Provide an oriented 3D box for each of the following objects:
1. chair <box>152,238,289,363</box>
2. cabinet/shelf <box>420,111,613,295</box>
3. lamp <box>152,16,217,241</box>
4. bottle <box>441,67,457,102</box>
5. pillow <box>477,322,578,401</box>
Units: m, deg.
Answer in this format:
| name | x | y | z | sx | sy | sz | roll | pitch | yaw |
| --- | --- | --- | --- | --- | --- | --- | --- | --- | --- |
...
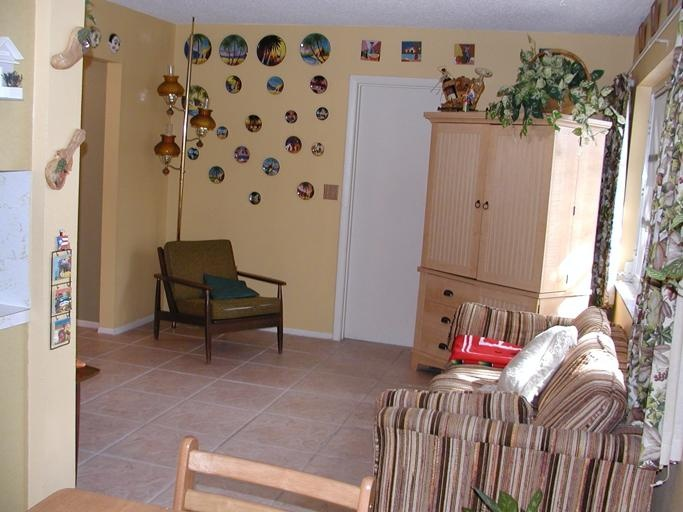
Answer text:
| name | x | y | z | sx | sy | sz | roll | pitch | yaw |
| --- | --- | --- | --- | --- | --- | --- | --- | --- | --- |
| chair | -1.189 | 0.352 | 5.200 | 0.858 | 0.963 | 1.010 | -1 | 5 | -44 |
| cabinet/shelf | 1.374 | -0.464 | 4.572 | 1.414 | 1.420 | 0.552 | 10 | 12 | 29 |
| lamp | -1.576 | -1.254 | 5.532 | 0.601 | 2.289 | 1.074 | 0 | 11 | -19 |
| bottle | 0.963 | -1.518 | 4.855 | 0.160 | 0.298 | 0.373 | 6 | 10 | 10 |
| pillow | 1.007 | 0.498 | 2.901 | 0.122 | 0.413 | 0.413 | 38 | -22 | 1 |
